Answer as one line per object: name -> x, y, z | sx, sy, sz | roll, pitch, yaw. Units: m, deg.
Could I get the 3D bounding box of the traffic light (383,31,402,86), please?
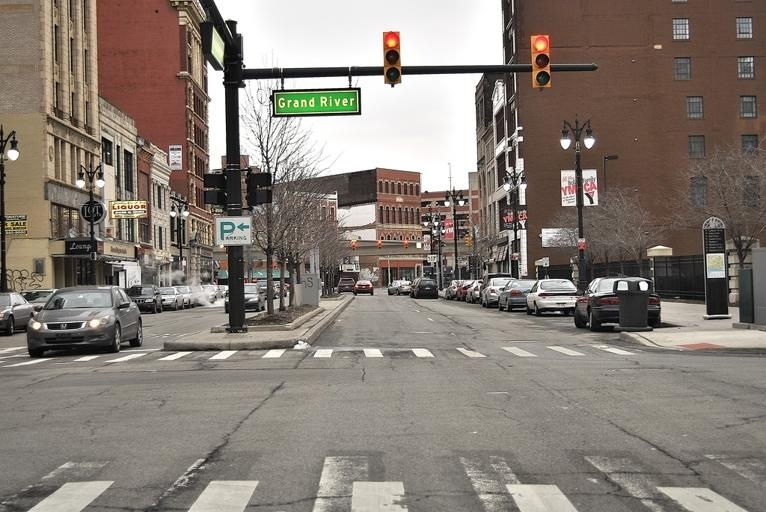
traffic light -> 0.225, -4.978, 19.190 | 0.400, 1.237, 0.549 | -4, -3, -6

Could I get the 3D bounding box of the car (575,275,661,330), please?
car -> 7.698, 1.700, 26.836 | 2.498, 2.108, 4.852 | 0, -2, -7

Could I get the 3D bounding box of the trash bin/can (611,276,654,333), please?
trash bin/can -> 8.233, 1.595, 25.144 | 1.041, 1.848, 1.357 | 1, -2, -10

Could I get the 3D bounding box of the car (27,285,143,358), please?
car -> -8.712, 1.849, 22.178 | 2.268, 1.996, 2.803 | -4, -3, 2

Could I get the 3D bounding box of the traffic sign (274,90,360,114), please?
traffic sign -> -1.849, -4.222, 21.055 | 2.408, 0.839, 0.369 | -4, -3, 0
